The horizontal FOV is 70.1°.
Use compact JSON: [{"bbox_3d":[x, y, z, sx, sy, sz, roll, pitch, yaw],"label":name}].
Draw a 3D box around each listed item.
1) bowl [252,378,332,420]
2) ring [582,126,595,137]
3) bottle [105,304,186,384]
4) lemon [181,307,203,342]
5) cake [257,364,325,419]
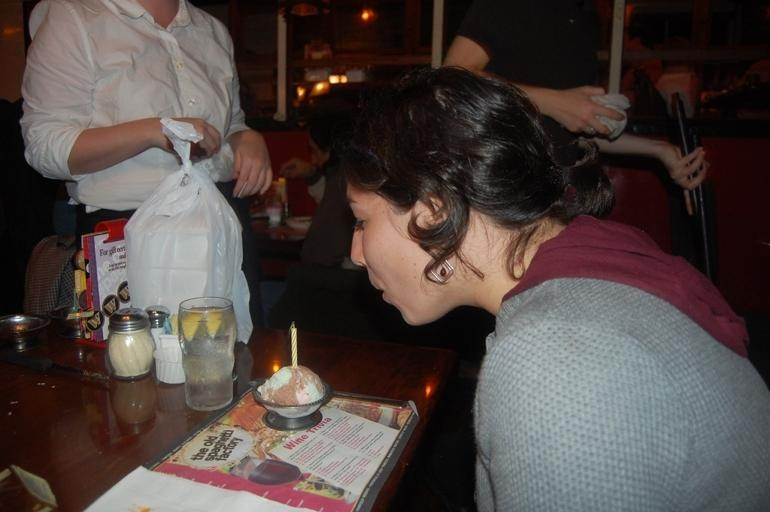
[{"bbox_3d":[-0.236,0.354,1.352,0.203,0.044,0.117,3,15,9],"label":"bowl"},{"bbox_3d":[0.767,-0.478,2.084,0.035,0.036,0.009,4,7,4],"label":"ring"},{"bbox_3d":[-0.632,0.219,1.526,0.251,0.194,0.163,8,12,10],"label":"bottle"},{"bbox_3d":[-0.481,0.171,1.369,0.062,0.071,0.062,3,18,-10],"label":"lemon"},{"bbox_3d":[-0.216,0.314,1.360,0.127,0.079,0.128,0,8,7],"label":"cake"}]
